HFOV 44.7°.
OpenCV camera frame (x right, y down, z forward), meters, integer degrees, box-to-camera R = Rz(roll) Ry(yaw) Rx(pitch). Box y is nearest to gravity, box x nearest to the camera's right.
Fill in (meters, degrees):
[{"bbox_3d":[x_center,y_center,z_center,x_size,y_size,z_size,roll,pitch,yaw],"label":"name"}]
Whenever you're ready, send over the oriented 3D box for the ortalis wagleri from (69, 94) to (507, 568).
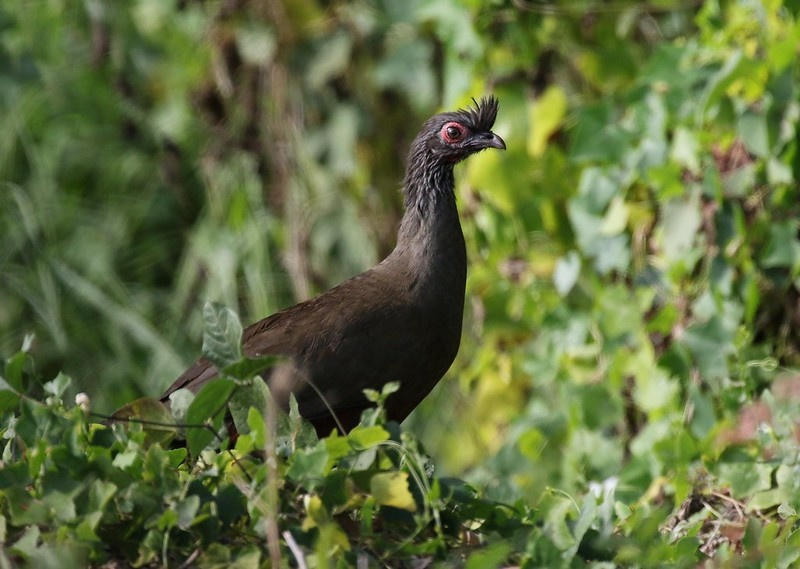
[{"bbox_3d":[-0.373,0.208,4.354,1.819,1.689,0.626,-11,16,3],"label":"ortalis wagleri"}]
